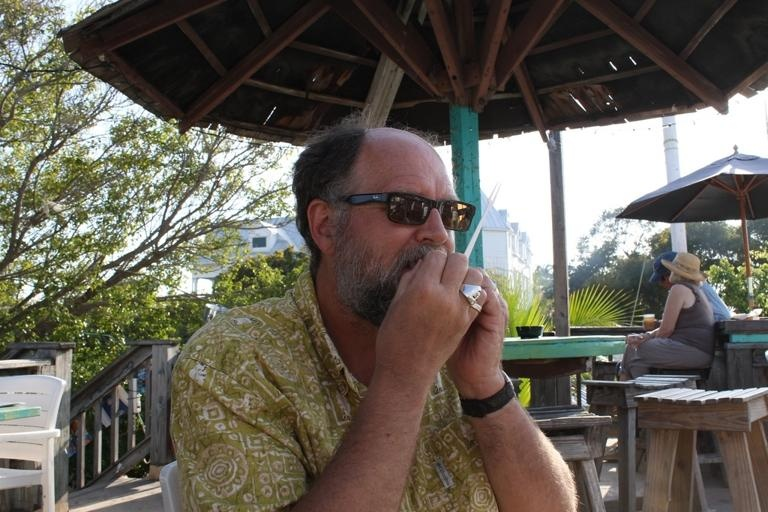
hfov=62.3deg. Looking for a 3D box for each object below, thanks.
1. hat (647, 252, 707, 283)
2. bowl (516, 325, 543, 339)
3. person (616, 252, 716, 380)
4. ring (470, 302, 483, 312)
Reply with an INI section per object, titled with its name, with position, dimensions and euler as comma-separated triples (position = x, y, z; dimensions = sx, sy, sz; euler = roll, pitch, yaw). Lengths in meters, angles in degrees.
[hat]
position = 3.784, 0.115, 8.185
dimensions = 0.422, 0.300, 0.495
euler = 7, 9, -42
[bowl]
position = 1.406, 0.722, 6.038
dimensions = 0.156, 0.080, 0.156
euler = 2, -14, 1
[person]
position = 3.496, 0.704, 7.879
dimensions = 1.063, 1.608, 0.732
euler = -2, -13, 15
[ring]
position = 0.529, 0.288, 3.703
dimensions = 0.092, 0.063, 0.018
euler = 9, -14, -30
